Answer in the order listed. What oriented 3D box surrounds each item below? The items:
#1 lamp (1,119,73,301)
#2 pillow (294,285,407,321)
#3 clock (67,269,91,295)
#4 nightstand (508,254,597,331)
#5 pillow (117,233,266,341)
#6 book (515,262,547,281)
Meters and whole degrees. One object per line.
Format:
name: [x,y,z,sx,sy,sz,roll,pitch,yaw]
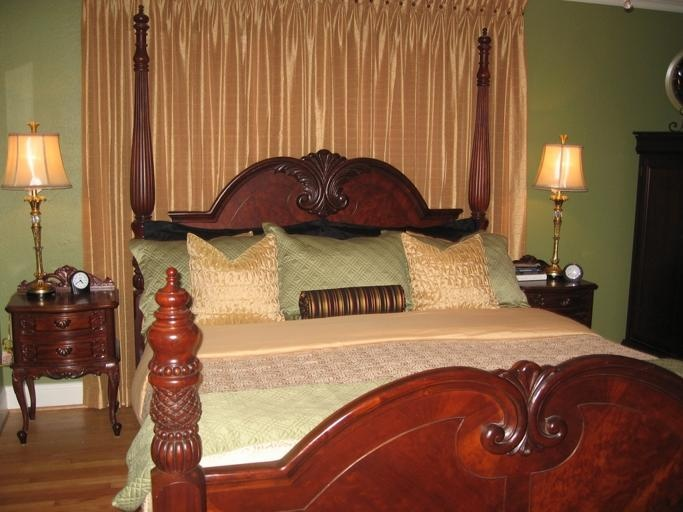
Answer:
lamp: [-1.865,-0.295,3.639,0.360,1.069,0.449,-4,7,-28]
pillow: [0.061,0.241,3.351,0.674,0.229,0.224,-2,43,-10]
clock: [-1.656,0.171,3.719,0.133,0.189,0.057,-1,6,-19]
nightstand: [1.492,0.253,4.144,0.568,0.630,0.452,-3,11,-12]
pillow: [-0.851,0.068,3.414,0.859,0.226,0.927,0,25,-9]
book: [1.306,0.121,4.116,0.169,0.045,0.162,-1,11,-4]
